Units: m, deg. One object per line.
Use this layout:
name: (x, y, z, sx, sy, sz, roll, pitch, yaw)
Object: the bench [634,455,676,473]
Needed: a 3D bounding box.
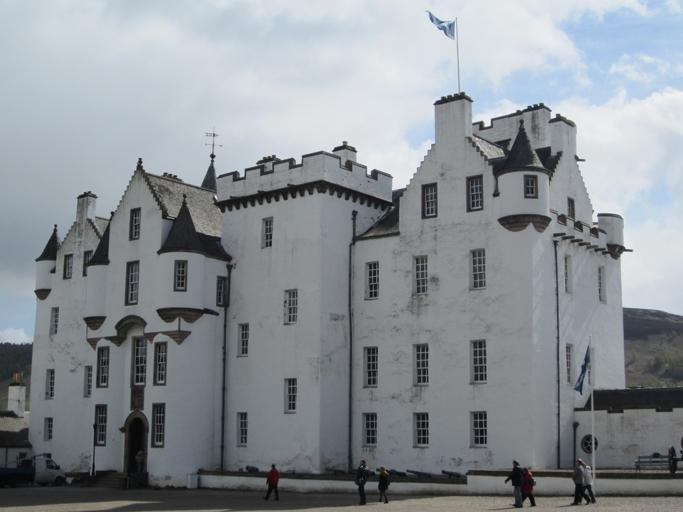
bench: (18.738, 12.416, 72.282, 1.897, 0.912, 3.546, -1, -5, 14)
